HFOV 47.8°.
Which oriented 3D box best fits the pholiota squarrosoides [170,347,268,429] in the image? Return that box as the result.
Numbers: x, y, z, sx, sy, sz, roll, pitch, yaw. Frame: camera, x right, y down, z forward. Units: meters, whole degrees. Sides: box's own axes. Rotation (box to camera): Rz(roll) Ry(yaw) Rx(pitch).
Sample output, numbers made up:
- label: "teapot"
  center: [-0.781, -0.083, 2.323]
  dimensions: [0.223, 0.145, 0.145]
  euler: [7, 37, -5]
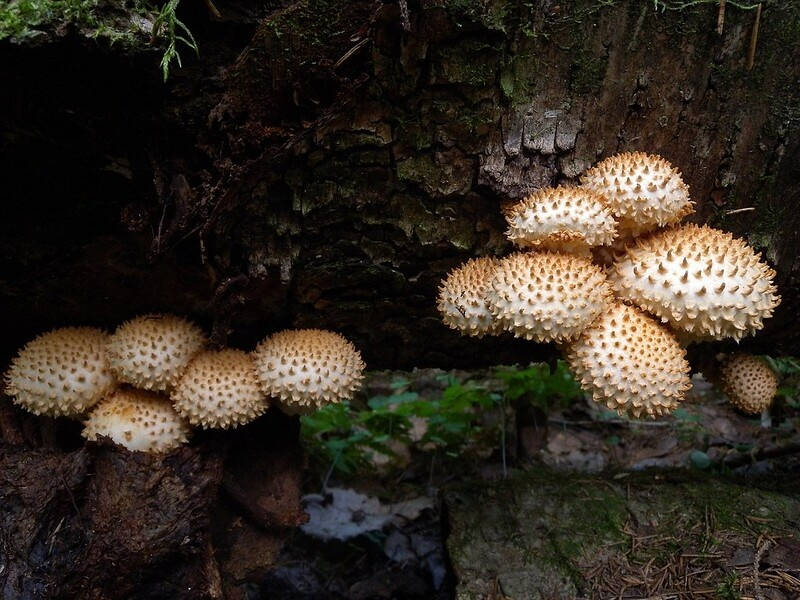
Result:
- label: "pholiota squarrosoides"
  center: [-1.196, 0.613, 5.930]
  dimensions: [0.557, 0.258, 0.525]
  euler: [5, 42, 0]

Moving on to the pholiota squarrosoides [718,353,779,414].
- label: "pholiota squarrosoides"
  center: [2.534, 0.622, 6.687]
  dimensions: [0.489, 0.340, 0.523]
  euler: [-1, 10, 5]

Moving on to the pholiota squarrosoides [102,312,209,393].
- label: "pholiota squarrosoides"
  center: [-1.648, 0.342, 5.997]
  dimensions: [0.560, 0.259, 0.538]
  euler: [15, 44, 10]

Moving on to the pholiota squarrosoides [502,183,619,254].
- label: "pholiota squarrosoides"
  center: [1.049, -0.486, 5.862]
  dimensions: [0.693, 0.405, 0.344]
  euler: [5, 45, 3]

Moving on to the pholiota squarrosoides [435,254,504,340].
- label: "pholiota squarrosoides"
  center: [0.463, 0.001, 5.985]
  dimensions: [0.496, 0.234, 0.479]
  euler: [-1, 50, 14]
